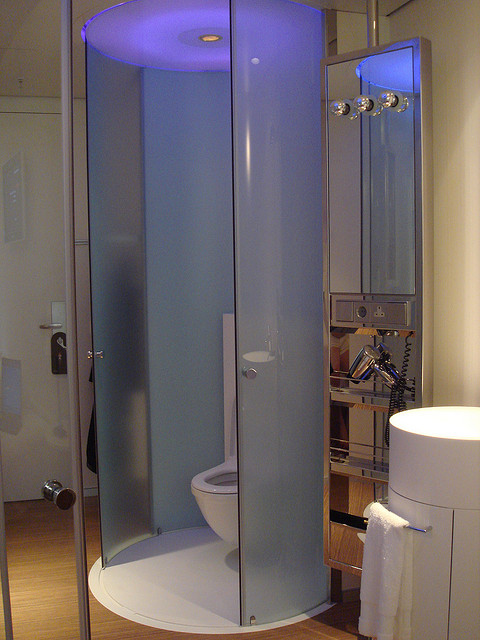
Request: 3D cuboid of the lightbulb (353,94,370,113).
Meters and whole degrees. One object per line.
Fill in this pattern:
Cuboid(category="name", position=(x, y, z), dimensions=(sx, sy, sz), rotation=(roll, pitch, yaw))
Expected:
Cuboid(category="lightbulb", position=(0.403, -0.724, 2.053), dimensions=(0.022, 0.063, 0.072), rotation=(-3, 3, -31))

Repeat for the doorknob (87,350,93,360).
Cuboid(category="doorknob", position=(-0.652, 0.150, 2.674), dimensions=(0.020, 0.040, 0.057), rotation=(-2, 3, -16))

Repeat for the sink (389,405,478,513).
Cuboid(category="sink", position=(0.524, 0.379, 1.702), dimensions=(0.221, 0.160, 0.239), rotation=(-1, 7, 3))

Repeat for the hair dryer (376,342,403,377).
Cuboid(category="hair dryer", position=(0.506, 0.136, 2.079), dimensions=(0.080, 0.097, 0.089), rotation=(0, 3, 13))

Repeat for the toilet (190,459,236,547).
Cuboid(category="toilet", position=(-0.116, 0.908, 2.813), dimensions=(0.197, 0.437, 0.405), rotation=(-1, 3, -1))

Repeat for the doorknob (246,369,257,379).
Cuboid(category="doorknob", position=(0.039, 0.197, 2.262), dimensions=(0.031, 0.051, 0.016), rotation=(1, 10, -3))

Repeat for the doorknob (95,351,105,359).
Cuboid(category="doorknob", position=(-0.617, 0.153, 2.710), dimensions=(0.029, 0.031, 0.022), rotation=(16, -20, -35))

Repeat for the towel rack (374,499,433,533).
Cuboid(category="towel rack", position=(0.453, 0.564, 1.677), dimensions=(0.085, 0.063, 0.103), rotation=(0, 3, 22))

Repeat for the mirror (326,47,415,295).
Cuboid(category="mirror", position=(0.438, -0.479, 2.054), dimensions=(0.052, 0.766, 0.298), rotation=(-7, 9, -43))

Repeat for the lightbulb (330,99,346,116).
Cuboid(category="lightbulb", position=(0.337, -0.731, 2.121), dimensions=(0.041, 0.055, 0.018), rotation=(1, -2, 30))

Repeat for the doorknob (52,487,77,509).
Cuboid(category="doorknob", position=(-0.385, 0.390, 1.355), dimensions=(0.054, 0.044, 0.034), rotation=(-3, 4, -36))

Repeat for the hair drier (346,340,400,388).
Cuboid(category="hair drier", position=(0.448, 0.166, 2.095), dimensions=(0.060, 0.148, 0.140), rotation=(15, 12, -40))
